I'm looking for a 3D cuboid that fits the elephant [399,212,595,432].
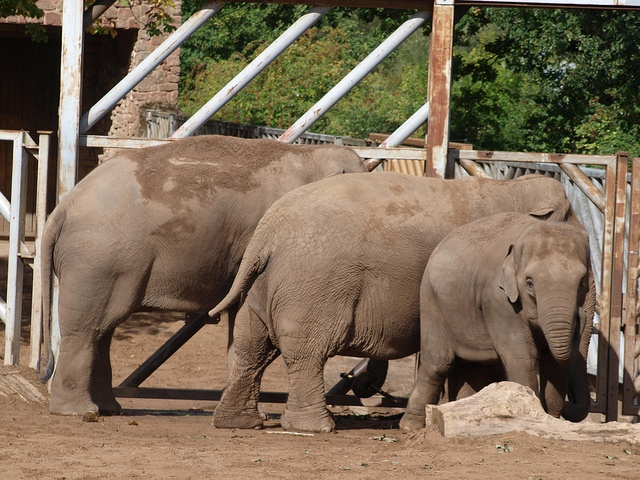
[{"bbox_3d":[1.777,0.810,13.960,1.210,1.998,2.411,-6,5,-29],"label":"elephant"}]
